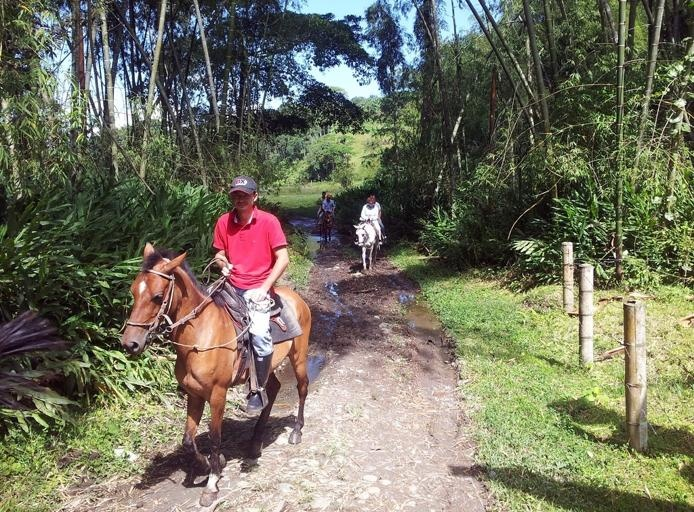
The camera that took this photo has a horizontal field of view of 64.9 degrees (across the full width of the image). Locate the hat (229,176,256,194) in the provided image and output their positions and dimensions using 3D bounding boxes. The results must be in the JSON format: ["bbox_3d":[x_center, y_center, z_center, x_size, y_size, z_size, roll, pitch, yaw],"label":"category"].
[{"bbox_3d":[-1.250,-0.846,6.610,0.304,0.229,0.228,-5,13,-13],"label":"hat"}]

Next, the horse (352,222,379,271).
[{"bbox_3d":[0.796,-0.288,18.636,0.443,1.406,1.927,-2,4,19],"label":"horse"}]

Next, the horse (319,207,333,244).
[{"bbox_3d":[-0.894,-1.257,24.087,0.562,1.526,1.082,-3,12,-3],"label":"horse"}]
